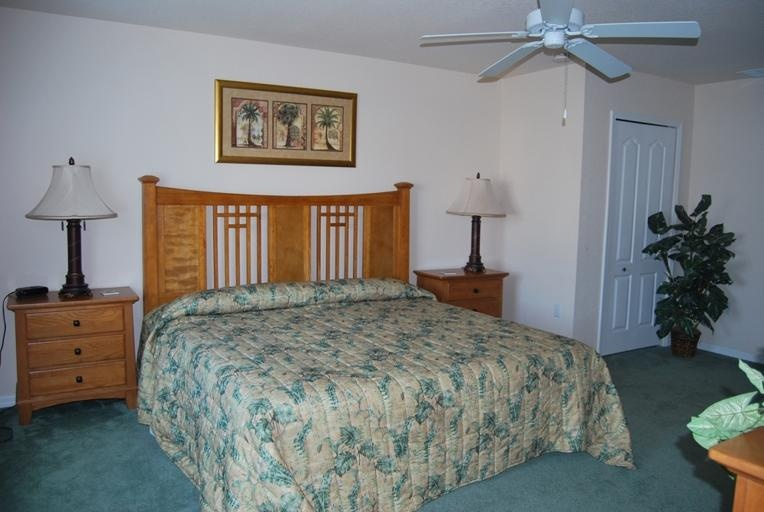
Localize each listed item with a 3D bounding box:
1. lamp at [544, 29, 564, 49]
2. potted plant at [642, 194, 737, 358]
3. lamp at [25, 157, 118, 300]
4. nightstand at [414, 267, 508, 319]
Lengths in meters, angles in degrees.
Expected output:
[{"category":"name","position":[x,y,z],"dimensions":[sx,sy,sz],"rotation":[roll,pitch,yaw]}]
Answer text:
[{"category":"lamp","position":[1.030,-1.282,3.280],"dimensions":[0.118,0.072,0.154],"rotation":[2,5,33]},{"category":"potted plant","position":[3.092,0.208,5.577],"dimensions":[0.792,1.639,0.943],"rotation":[2,6,33]},{"category":"lamp","position":[-2.375,-0.220,4.203],"dimensions":[0.589,1.047,0.374],"rotation":[-4,6,-26]},{"category":"nightstand","position":[0.755,0.277,5.443],"dimensions":[0.668,0.802,0.527],"rotation":[-5,9,-37]}]
